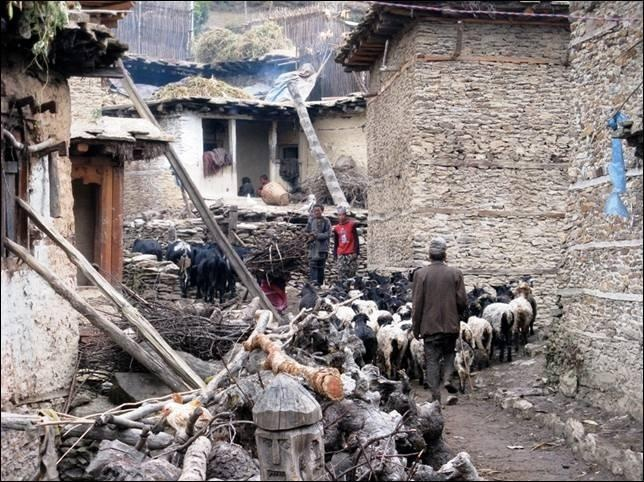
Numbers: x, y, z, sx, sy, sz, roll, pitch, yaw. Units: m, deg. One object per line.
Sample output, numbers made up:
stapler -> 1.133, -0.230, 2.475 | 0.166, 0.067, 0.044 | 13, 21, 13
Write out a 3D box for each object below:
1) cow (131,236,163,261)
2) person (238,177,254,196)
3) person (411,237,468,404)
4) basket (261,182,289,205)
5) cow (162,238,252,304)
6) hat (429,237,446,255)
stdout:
cow -> -4.685, 0.219, 20.339 | 0.422, 0.755, 1.403 | -13, 20, -25
person -> -2.856, -2.002, 29.263 | 0.598, 0.668, 1.642 | 2, 9, -5
person -> 1.572, 1.089, 10.637 | 0.675, 2.133, 0.640 | 11, 12, 43
basket -> -1.693, -1.641, 27.494 | 0.820, 0.897, 1.261 | -1, 13, -30
cow -> -2.898, 0.708, 19.074 | 0.953, 1.549, 3.236 | -5, 8, -21
hat -> 1.646, 0.090, 10.836 | 0.165, 0.184, 0.231 | 1, -7, 8
